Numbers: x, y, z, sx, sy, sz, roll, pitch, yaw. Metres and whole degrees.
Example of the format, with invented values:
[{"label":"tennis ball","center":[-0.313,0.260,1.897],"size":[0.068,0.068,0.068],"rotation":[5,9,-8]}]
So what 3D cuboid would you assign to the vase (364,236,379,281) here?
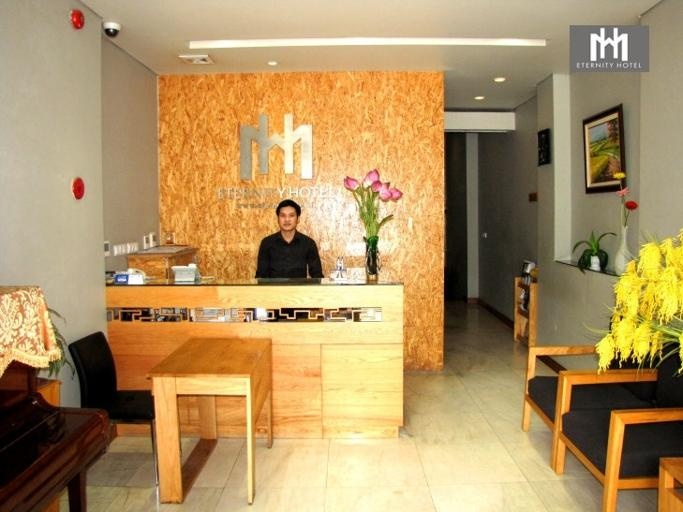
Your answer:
[{"label":"vase","center":[0.264,0.022,4.167],"size":[0.110,0.366,0.149],"rotation":[0,8,3]}]

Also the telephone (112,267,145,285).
[{"label":"telephone","center":[-1.781,0.161,4.273],"size":[0.298,0.106,0.299],"rotation":[1,8,9]}]

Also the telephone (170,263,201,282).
[{"label":"telephone","center":[-1.323,0.142,4.185],"size":[0.210,0.140,0.112],"rotation":[-2,8,-14]}]

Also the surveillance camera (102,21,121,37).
[{"label":"surveillance camera","center":[-2.019,-1.981,4.324],"size":[0.097,0.077,0.097],"rotation":[15,25,36]}]

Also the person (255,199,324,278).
[{"label":"person","center":[-0.550,-0.107,5.113],"size":[0.698,0.916,0.465],"rotation":[0,-7,-3]}]

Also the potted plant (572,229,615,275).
[{"label":"potted plant","center":[2.624,-0.054,5.136],"size":[0.383,0.378,0.308],"rotation":[2,0,25]}]

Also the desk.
[{"label":"desk","center":[-0.927,1.163,3.725],"size":[0.700,0.930,0.847],"rotation":[0,8,1]}]

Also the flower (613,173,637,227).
[{"label":"flower","center":[2.657,-0.530,4.599],"size":[0.167,0.508,0.380],"rotation":[1,8,8]}]
